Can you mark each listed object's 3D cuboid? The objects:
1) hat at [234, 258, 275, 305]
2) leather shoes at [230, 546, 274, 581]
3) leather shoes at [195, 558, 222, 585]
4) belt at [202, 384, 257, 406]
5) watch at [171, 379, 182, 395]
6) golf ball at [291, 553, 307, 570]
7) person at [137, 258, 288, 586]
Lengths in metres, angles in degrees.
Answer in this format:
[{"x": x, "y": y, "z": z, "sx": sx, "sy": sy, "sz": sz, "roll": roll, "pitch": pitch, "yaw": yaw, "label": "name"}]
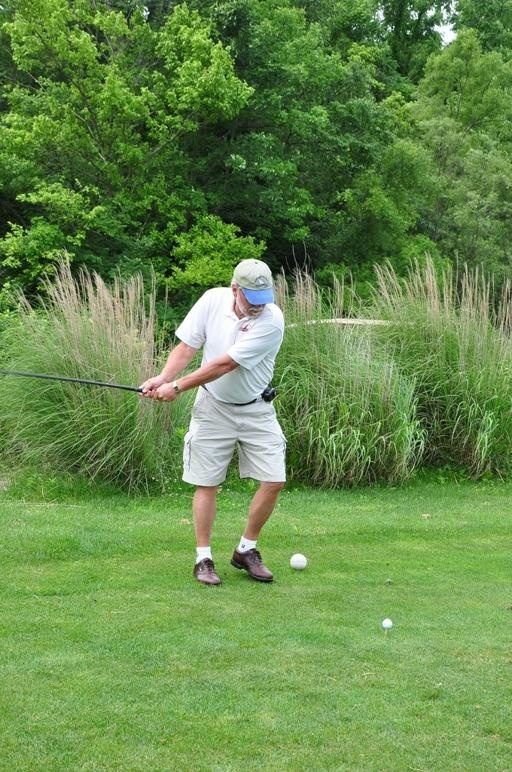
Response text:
[{"x": -0.013, "y": -0.499, "z": 4.300, "sx": 0.195, "sy": 0.223, "sz": 0.226, "roll": 3, "pitch": 3, "yaw": -2, "label": "hat"}, {"x": -0.025, "y": 0.886, "z": 4.601, "sx": 0.097, "sy": 0.117, "sz": 0.260, "roll": 2, "pitch": 6, "yaw": -44, "label": "leather shoes"}, {"x": -0.234, "y": 0.886, "z": 4.428, "sx": 0.105, "sy": 0.104, "sz": 0.185, "roll": 2, "pitch": 3, "yaw": -20, "label": "leather shoes"}, {"x": -0.128, "y": 0.044, "z": 4.463, "sx": 0.278, "sy": 0.091, "sz": 0.048, "roll": 3, "pitch": 3, "yaw": 0, "label": "belt"}, {"x": -0.384, "y": -0.006, "z": 4.379, "sx": 0.039, "sy": 0.059, "sz": 0.062, "roll": -21, "pitch": -27, "yaw": -11, "label": "watch"}, {"x": 0.227, "y": 0.919, "z": 4.828, "sx": 0.078, "sy": 0.072, "sz": 0.076, "roll": 8, "pitch": -2, "yaw": 0, "label": "golf ball"}, {"x": -0.177, "y": 0.159, "z": 4.478, "sx": 0.664, "sy": 1.571, "sz": 0.512, "roll": 3, "pitch": 3, "yaw": 1, "label": "person"}]
